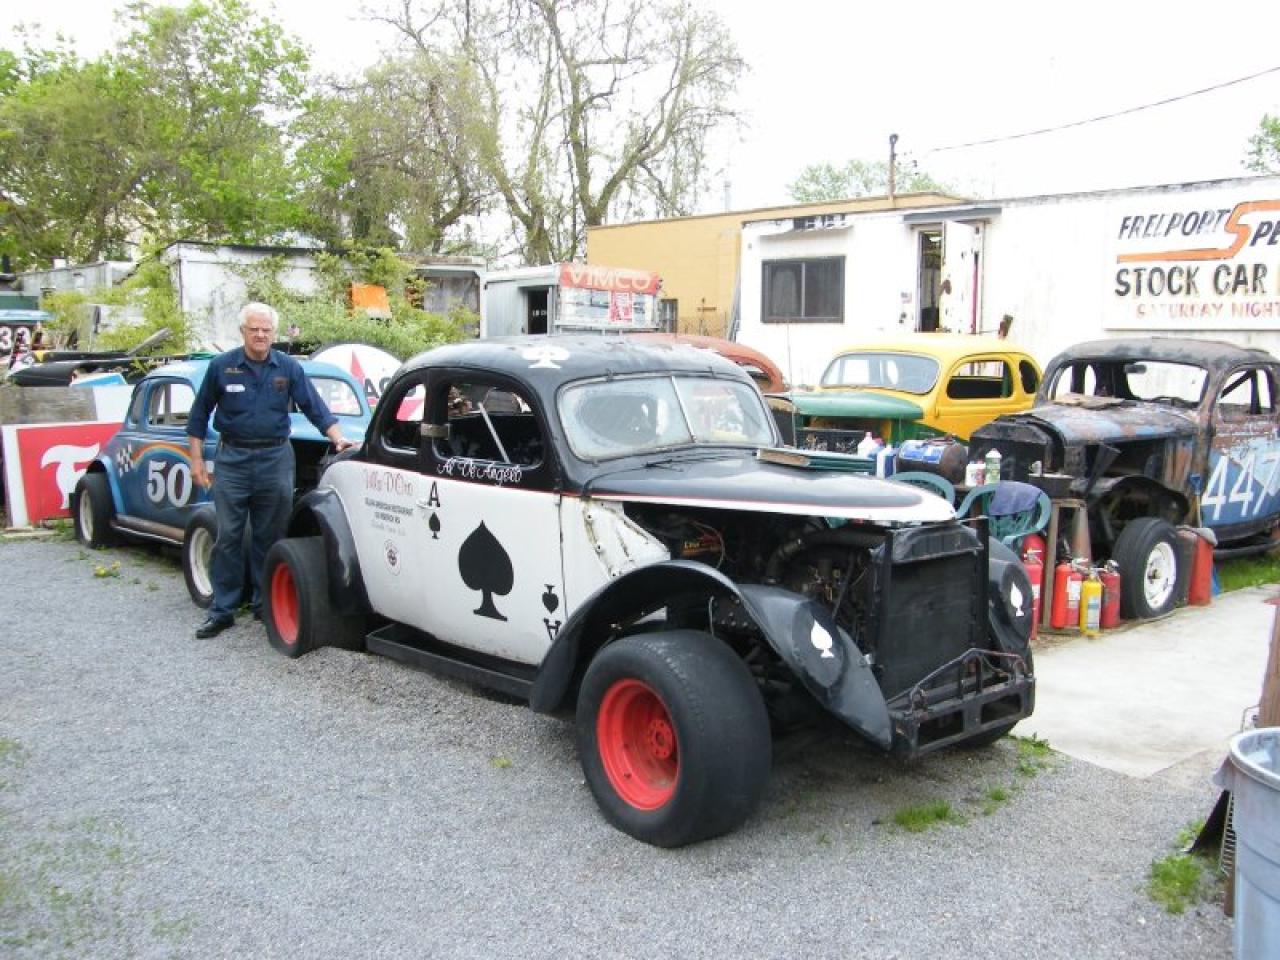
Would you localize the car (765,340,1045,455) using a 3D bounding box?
[{"bbox_3d":[3.049,-1.048,10.865,2.678,1.401,1.645,0,3,-35],"label":"car"}]

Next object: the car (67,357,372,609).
[{"bbox_3d":[-4.066,-0.112,9.009,3.069,1.661,1.934,1,4,42],"label":"car"}]

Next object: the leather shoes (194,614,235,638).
[{"bbox_3d":[-3.186,1.088,7.000,0.105,0.143,0.334,1,0,18],"label":"leather shoes"}]

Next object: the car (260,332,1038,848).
[{"bbox_3d":[-0.097,0.368,5.521,3.762,1.986,2.341,7,8,44],"label":"car"}]

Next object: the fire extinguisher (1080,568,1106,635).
[{"bbox_3d":[3.630,0.945,7.465,0.180,0.510,0.377,6,11,29],"label":"fire extinguisher"}]
